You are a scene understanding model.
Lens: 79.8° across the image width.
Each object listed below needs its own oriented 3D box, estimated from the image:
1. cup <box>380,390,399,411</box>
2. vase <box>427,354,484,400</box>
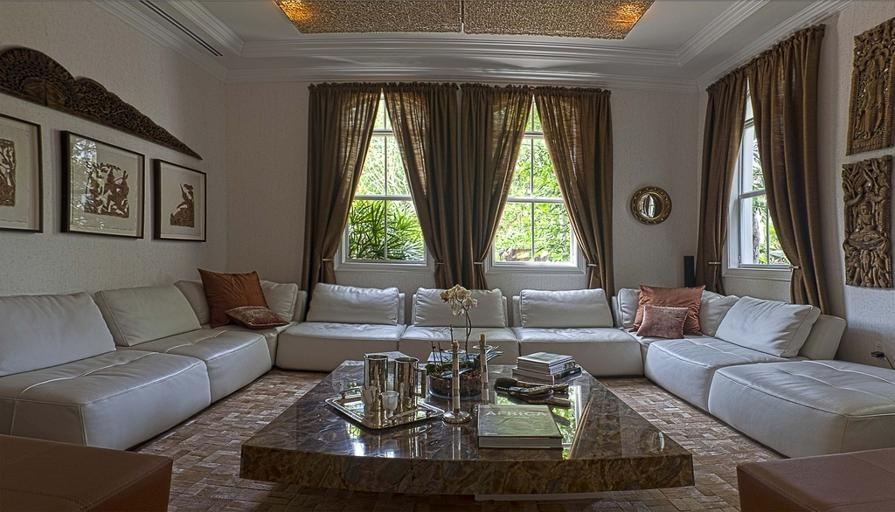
[{"bbox_3d":[-0.435,1.151,4.318,0.170,0.151,0.161,-1,0,0],"label":"cup"},{"bbox_3d":[0.071,1.066,4.773,0.403,0.148,0.384,0,-1,14],"label":"vase"}]
